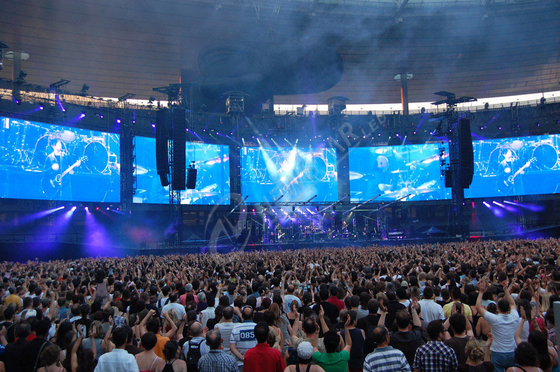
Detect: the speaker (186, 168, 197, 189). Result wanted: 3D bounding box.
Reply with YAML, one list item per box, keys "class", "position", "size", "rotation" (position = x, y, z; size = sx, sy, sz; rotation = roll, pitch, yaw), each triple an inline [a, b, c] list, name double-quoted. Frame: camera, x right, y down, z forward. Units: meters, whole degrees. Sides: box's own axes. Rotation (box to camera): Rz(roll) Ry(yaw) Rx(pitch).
- class: "speaker"
  position: [-7.856, -0.621, 48.766]
  size: [0.836, 1.788, 2.181]
  rotation: [-3, -10, -11]

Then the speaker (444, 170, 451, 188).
- class: "speaker"
  position: [16.282, -0.758, 54.097]
  size: [0.598, 1.528, 1.864]
  rotation: [-1, -1, 24]
